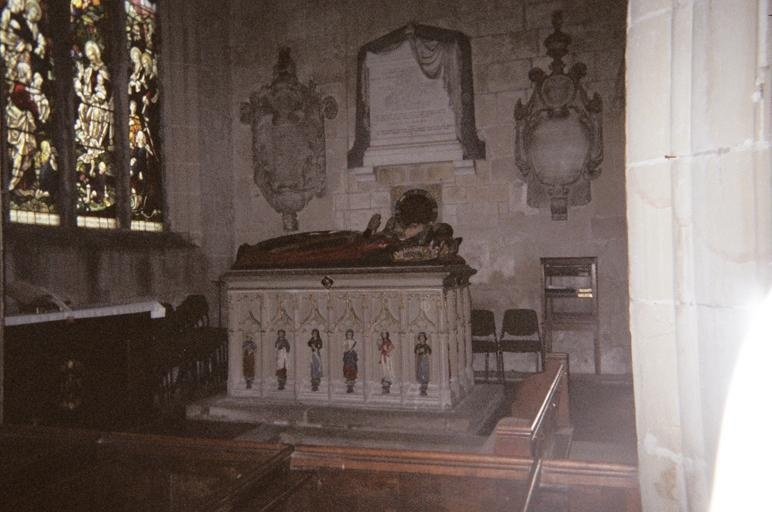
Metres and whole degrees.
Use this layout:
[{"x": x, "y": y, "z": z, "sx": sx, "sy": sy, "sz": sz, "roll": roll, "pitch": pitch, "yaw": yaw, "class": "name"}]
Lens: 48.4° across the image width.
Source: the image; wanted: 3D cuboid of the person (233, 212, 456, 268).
[{"x": -0.796, "y": -0.044, "z": 9.293, "sx": 3.176, "sy": 0.611, "sz": 0.809, "roll": -3, "pitch": -3, "yaw": 14, "class": "person"}]
